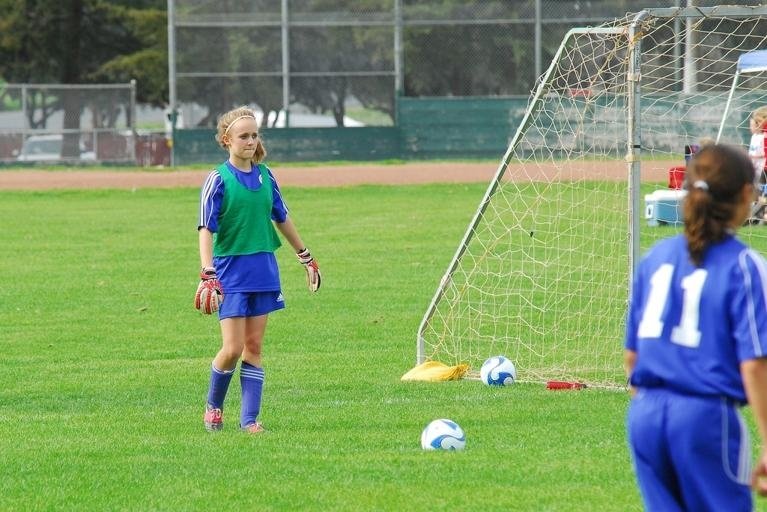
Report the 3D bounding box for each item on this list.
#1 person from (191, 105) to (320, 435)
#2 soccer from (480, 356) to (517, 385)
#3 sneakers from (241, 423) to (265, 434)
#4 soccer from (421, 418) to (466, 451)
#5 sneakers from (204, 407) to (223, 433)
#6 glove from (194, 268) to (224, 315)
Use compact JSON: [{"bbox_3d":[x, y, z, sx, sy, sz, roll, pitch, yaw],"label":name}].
[{"bbox_3d":[-1.055,0.090,11.980,0.999,2.485,0.371,-4,8,-35],"label":"person"},{"bbox_3d":[0.961,0.936,12.737,0.246,0.239,0.229,22,25,11],"label":"soccer"},{"bbox_3d":[-1.004,1.326,11.921,0.179,0.075,0.067,-2,-2,30],"label":"sneakers"},{"bbox_3d":[0.446,1.345,11.721,0.290,0.256,0.239,-4,29,-23],"label":"soccer"},{"bbox_3d":[-1.313,1.260,11.955,0.119,0.191,0.193,3,-13,-9],"label":"sneakers"},{"bbox_3d":[-1.321,0.258,11.722,0.204,0.360,0.220,-1,6,-7],"label":"glove"}]
